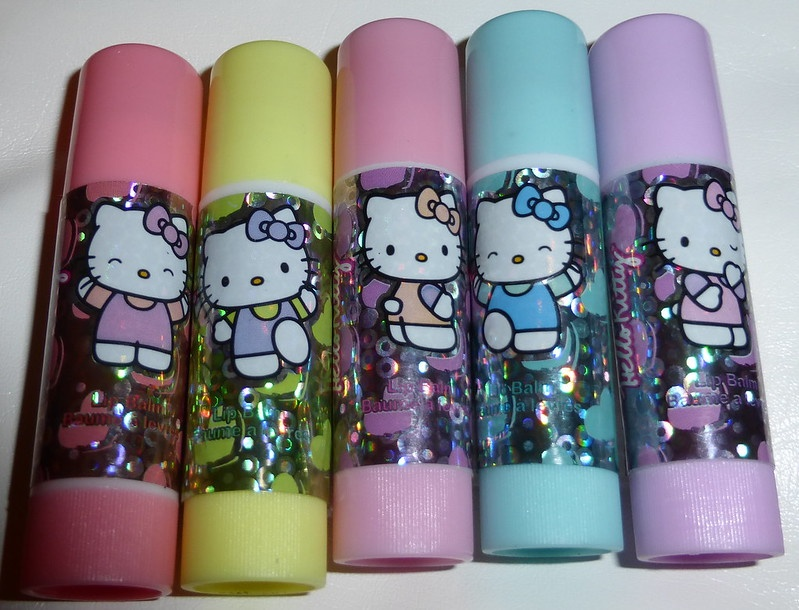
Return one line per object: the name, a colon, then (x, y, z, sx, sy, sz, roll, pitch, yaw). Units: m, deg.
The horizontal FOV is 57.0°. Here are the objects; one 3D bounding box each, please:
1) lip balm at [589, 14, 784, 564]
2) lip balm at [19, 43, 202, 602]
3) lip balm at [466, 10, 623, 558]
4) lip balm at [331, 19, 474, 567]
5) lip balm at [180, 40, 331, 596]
lip balm: (0.237, -0.009, 0.687, 0.141, 0.483, 0.137, 3, 2, -12)
lip balm: (-0.238, -0.005, 0.633, 0.117, 0.473, 0.058, 6, -12, -28)
lip balm: (0.124, -0.035, 0.655, 0.124, 0.484, 0.050, -2, -10, 12)
lip balm: (0.003, -0.028, 0.650, 0.121, 0.483, 0.050, 2, -10, -8)
lip balm: (-0.116, -0.004, 0.643, 0.122, 0.482, 0.059, 4, -11, -18)
